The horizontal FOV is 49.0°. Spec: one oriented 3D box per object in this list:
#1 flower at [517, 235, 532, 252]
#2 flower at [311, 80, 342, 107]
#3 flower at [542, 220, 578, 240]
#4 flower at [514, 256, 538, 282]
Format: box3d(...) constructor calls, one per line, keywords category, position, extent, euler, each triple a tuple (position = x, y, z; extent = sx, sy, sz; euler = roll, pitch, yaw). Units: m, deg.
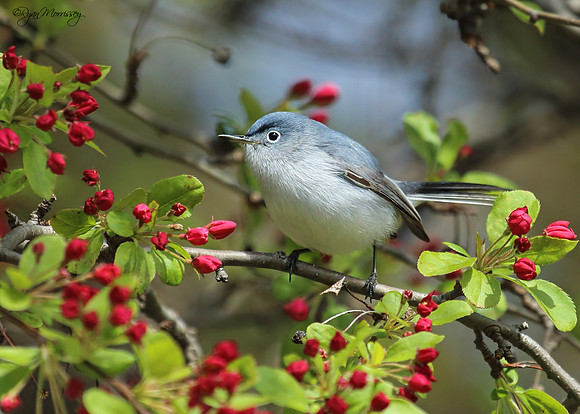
box3d(category="flower", position=(1.490, 0.246, 4.065), extent=(0.074, 0.093, 0.094), euler=(3, -45, 14))
box3d(category="flower", position=(0.324, -1.031, 5.808), extent=(0.248, 0.271, 0.205), euler=(10, -15, -3))
box3d(category="flower", position=(1.738, 0.158, 4.092), extent=(0.156, 0.127, 0.073), euler=(2, -44, 1))
box3d(category="flower", position=(1.522, 0.411, 4.078), extent=(0.222, 0.147, 0.123), euler=(22, -20, -40))
